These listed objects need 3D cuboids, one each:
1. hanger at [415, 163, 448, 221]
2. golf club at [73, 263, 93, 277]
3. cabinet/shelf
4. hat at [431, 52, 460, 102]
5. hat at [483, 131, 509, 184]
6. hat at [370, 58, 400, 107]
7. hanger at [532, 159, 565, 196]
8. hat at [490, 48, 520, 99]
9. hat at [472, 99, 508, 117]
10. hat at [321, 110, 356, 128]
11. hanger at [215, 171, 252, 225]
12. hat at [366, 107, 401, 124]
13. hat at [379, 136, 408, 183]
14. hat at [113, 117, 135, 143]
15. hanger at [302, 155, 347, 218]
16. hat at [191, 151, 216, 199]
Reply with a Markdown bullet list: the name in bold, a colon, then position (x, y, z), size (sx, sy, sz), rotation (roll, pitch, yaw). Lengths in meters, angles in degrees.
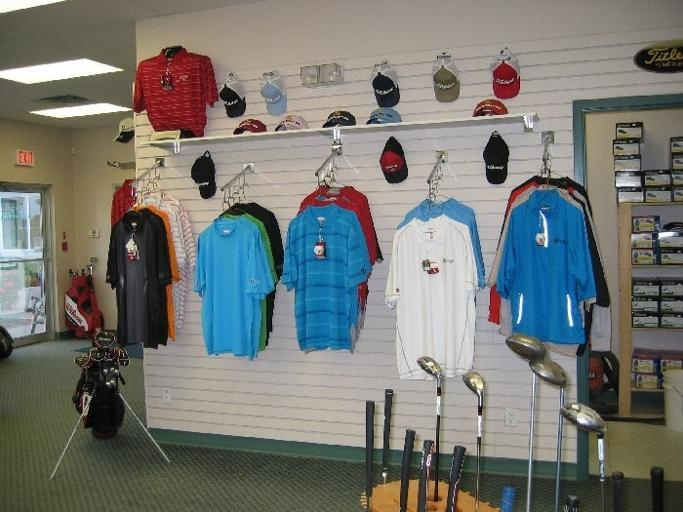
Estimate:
- **hanger**: position (0.764, -0.552, 4.861), size (0.228, 0.456, 0.399), rotation (1, 11, 10)
- **golf club**: position (-4.581, 0.222, 10.057), size (0.424, 0.192, 0.183), rotation (2, 11, 17)
- **cabinet/shelf**: position (3.147, 0.513, 6.126), size (0.432, 2.137, 0.989), rotation (6, 12, 34)
- **hat**: position (0.899, -1.536, 4.865), size (0.236, 0.430, 0.273), rotation (1, 11, 11)
- **hat**: position (1.285, -0.837, 4.783), size (0.231, 0.415, 0.092), rotation (4, 13, 35)
- **hat**: position (0.357, -1.479, 4.905), size (0.221, 0.389, 0.151), rotation (6, 28, 24)
- **hanger**: position (1.710, -0.644, 4.681), size (0.302, 0.357, 0.028), rotation (3, 0, 26)
- **hat**: position (1.350, -1.501, 4.716), size (0.233, 0.414, 0.129), rotation (7, 19, 27)
- **hat**: position (1.235, -1.237, 4.745), size (0.270, 0.154, 0.340), rotation (1, 11, 13)
- **hat**: position (-0.023, -1.212, 5.008), size (0.285, 0.158, 0.330), rotation (-1, 11, 1)
- **hanger**: position (-1.011, -0.612, 5.313), size (0.309, 0.451, 0.359), rotation (-2, 11, -4)
- **hat**: position (0.362, -1.196, 4.863), size (0.272, 0.146, 0.208), rotation (0, 11, 5)
- **hat**: position (0.453, -0.840, 4.978), size (0.234, 0.415, 0.261), rotation (0, 10, 7)
- **hat**: position (-2.371, -1.383, 6.205), size (0.182, 0.270, 1.094), rotation (-5, 12, -20)
- **hanger**: position (-0.206, -0.659, 5.084), size (0.348, 0.492, 0.401), rotation (-1, 11, 2)
- **hat**: position (-1.332, -0.776, 5.483), size (0.230, 0.457, 0.169), rotation (-4, 11, -17)
